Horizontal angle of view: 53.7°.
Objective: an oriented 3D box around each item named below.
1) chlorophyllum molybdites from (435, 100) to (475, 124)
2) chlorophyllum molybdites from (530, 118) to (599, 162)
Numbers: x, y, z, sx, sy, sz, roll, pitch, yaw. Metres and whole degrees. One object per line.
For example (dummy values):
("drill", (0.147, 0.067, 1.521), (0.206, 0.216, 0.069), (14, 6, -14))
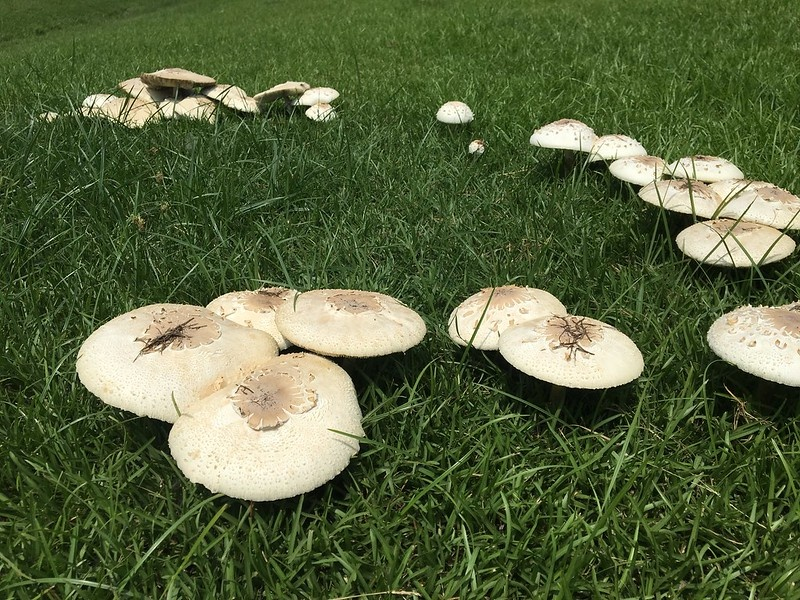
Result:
("chlorophyllum molybdites", (0.590, -1.972, 8.549), (0.391, 0.266, 0.343), (-5, 36, 5))
("chlorophyllum molybdites", (1.483, -1.460, 7.157), (0.587, 0.221, 0.371), (1, 37, 12))
